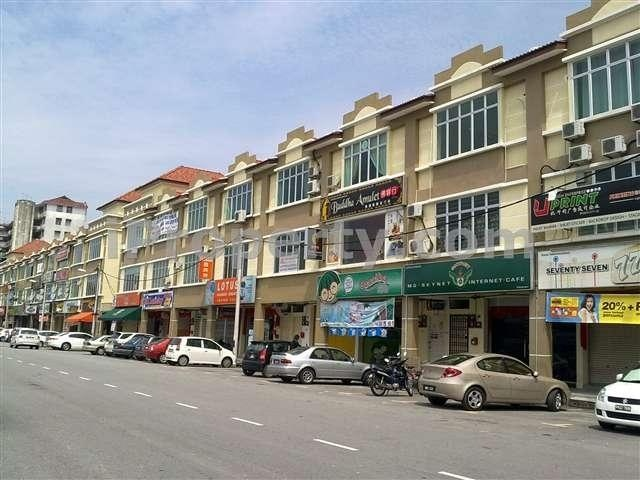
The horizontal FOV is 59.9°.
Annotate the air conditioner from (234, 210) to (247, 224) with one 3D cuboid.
[{"bbox_3d":[-5.539,-1.650,38.554,0.505,0.923,1.189,8,-15,-28],"label":"air conditioner"}]

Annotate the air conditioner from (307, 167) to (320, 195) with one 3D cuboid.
[{"bbox_3d":[-0.386,-3.487,32.369,0.450,1.766,0.870,8,-15,-26],"label":"air conditioner"}]

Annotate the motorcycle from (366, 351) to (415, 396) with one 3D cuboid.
[{"bbox_3d":[2.703,5.024,20.335,2.397,1.251,0.822,11,-20,-41],"label":"motorcycle"}]

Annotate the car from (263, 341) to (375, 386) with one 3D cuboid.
[{"bbox_3d":[-0.183,5.332,23.922,4.167,1.230,1.839,3,-8,-24],"label":"car"}]

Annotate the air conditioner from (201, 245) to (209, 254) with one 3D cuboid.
[{"bbox_3d":[-8.980,0.752,42.167,0.531,0.722,0.665,0,-2,-20],"label":"air conditioner"}]

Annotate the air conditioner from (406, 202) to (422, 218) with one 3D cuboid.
[{"bbox_3d":[4.422,-1.353,25.784,0.441,0.638,0.788,9,-15,-32],"label":"air conditioner"}]

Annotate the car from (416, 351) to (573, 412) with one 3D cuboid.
[{"bbox_3d":[5.266,4.347,17.066,3.959,1.233,1.958,2,-7,-21],"label":"car"}]

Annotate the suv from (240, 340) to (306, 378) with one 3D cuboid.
[{"bbox_3d":[-2.769,5.547,26.286,2.644,1.137,1.444,3,-7,-42],"label":"suv"}]

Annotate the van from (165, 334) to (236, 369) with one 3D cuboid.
[{"bbox_3d":[-7.095,6.491,32.324,3.370,1.327,1.855,2,-7,-28],"label":"van"}]

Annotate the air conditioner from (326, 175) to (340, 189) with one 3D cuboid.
[{"bbox_3d":[0.756,-3.228,30.880,0.652,0.751,0.437,7,-14,-23],"label":"air conditioner"}]

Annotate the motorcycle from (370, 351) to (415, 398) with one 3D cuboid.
[{"bbox_3d":[2.726,5.016,20.315,2.390,1.250,0.940,11,-17,-40],"label":"motorcycle"}]

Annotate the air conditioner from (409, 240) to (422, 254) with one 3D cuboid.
[{"bbox_3d":[4.355,0.320,25.468,0.257,0.656,0.640,9,-15,-30],"label":"air conditioner"}]
